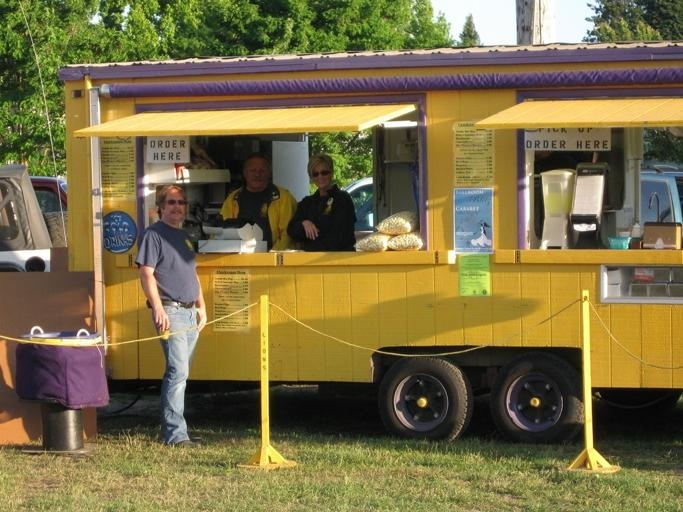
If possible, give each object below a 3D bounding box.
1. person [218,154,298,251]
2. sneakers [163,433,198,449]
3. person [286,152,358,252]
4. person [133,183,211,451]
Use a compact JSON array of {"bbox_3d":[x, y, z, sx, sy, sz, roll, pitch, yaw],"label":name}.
[{"bbox_3d":[-0.984,-0.484,17.749,0.927,1.253,0.656,0,-16,1],"label":"person"},{"bbox_3d":[-1.709,1.937,16.543,0.259,0.108,0.187,7,-3,-6],"label":"sneakers"},{"bbox_3d":[-0.220,-0.604,17.526,0.734,1.045,0.489,2,6,29],"label":"person"},{"bbox_3d":[-1.805,0.792,16.597,0.709,2.337,0.504,-2,5,-8],"label":"person"}]
